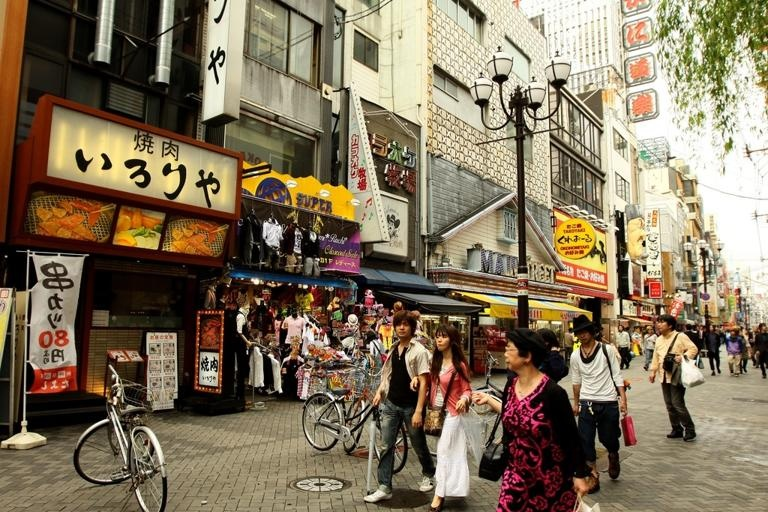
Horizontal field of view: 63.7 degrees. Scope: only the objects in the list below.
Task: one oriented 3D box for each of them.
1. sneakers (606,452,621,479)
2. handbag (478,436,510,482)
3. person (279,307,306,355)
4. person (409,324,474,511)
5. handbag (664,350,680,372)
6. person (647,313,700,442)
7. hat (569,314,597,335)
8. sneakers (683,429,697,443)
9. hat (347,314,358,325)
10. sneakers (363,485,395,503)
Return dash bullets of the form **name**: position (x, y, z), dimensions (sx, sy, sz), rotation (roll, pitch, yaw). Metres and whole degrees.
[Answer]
- **sneakers**: position (4.276, 3.859, 11.509), dimensions (0.206, 0.654, 0.263), rotation (3, 11, 28)
- **handbag**: position (1.558, 2.702, 8.910), dimensions (0.382, 0.757, 0.540), rotation (8, 38, 1)
- **person**: position (-2.659, 2.230, 18.086), dimensions (0.599, 1.074, 0.933), rotation (1, 1, -30)
- **person**: position (1.074, 2.673, 10.341), dimensions (0.703, 2.060, 0.674), rotation (1, 1, 4)
- **handbag**: position (6.425, 2.387, 13.912), dimensions (0.374, 0.410, 0.303), rotation (-2, -6, 24)
- **person**: position (6.583, 2.743, 14.122), dimensions (0.975, 2.595, 1.085), rotation (2, 1, 26)
- **hat**: position (3.674, 1.258, 11.402), dimensions (0.364, 0.155, 0.325), rotation (-2, -11, -41)
- **sneakers**: position (6.842, 3.988, 13.903), dimensions (0.232, 0.228, 0.469), rotation (2, 2, 30)
- **hat**: position (-0.976, 1.960, 19.006), dimensions (0.300, 0.335, 0.635), rotation (1, 1, -4)
- **sneakers**: position (-0.089, 4.018, 10.458), dimensions (0.540, 0.251, 0.206), rotation (4, -13, -16)
